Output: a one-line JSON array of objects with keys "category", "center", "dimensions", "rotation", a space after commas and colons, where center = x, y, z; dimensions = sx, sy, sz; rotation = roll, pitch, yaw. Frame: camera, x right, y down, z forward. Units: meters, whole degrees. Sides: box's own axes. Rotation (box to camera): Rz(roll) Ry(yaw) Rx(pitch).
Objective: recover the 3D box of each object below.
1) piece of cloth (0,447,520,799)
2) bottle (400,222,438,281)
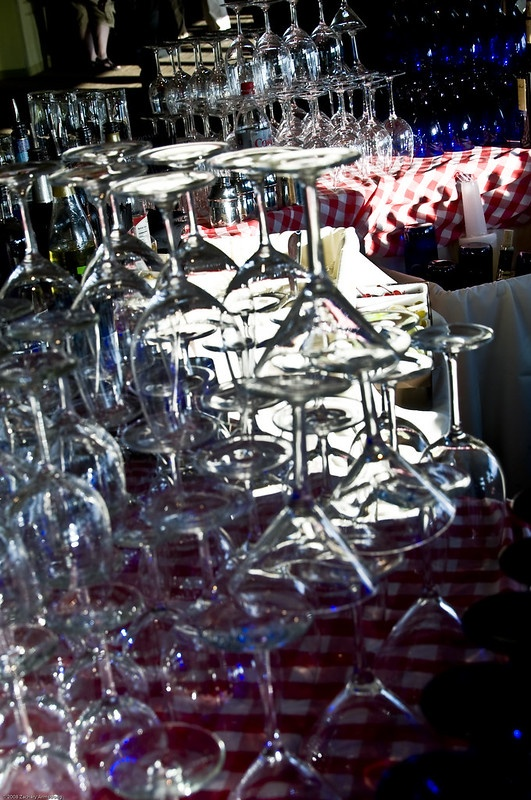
[{"category": "piece of cloth", "center": [0.064, 0.187, 0.541], "dimensions": [0.265, 0.060, 0.264], "rotation": [-5, 45, 12]}, {"category": "bottle", "center": [0.493, -0.472, 2.050], "dimensions": [0.106, 0.164, 0.107], "rotation": [-8, 25, 4]}]
